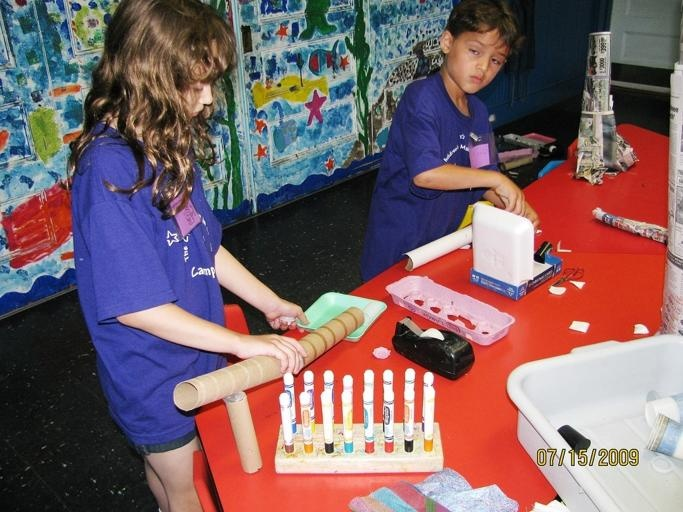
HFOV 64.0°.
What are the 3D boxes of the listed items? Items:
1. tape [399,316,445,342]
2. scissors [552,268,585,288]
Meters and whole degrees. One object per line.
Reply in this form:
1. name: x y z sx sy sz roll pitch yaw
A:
1. tape: 0.226 0.197 1.557 0.125 0.055 0.048 4 37 43
2. scissors: 0.771 0.071 1.847 0.051 0.016 0.132 28 44 36
